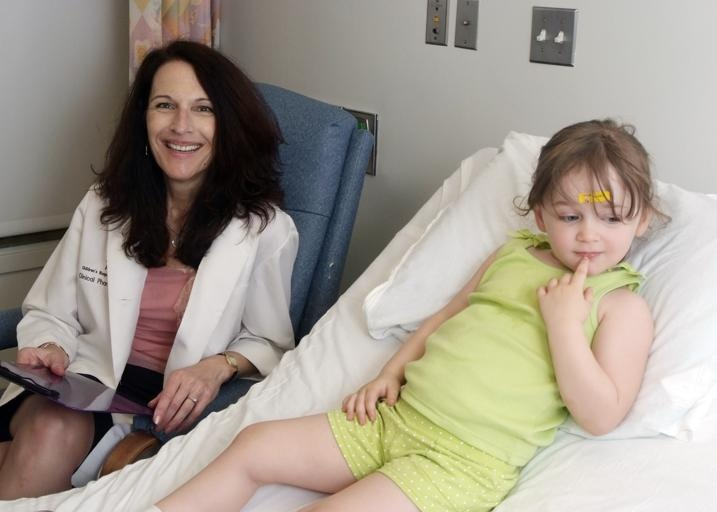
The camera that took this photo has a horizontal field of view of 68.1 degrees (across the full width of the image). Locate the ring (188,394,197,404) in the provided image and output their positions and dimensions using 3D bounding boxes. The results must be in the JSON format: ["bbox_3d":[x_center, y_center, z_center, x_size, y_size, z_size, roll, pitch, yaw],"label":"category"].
[{"bbox_3d":[-0.423,0.370,1.368,0.019,0.020,0.015,6,-13,-18],"label":"ring"}]

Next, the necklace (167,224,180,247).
[{"bbox_3d":[-0.551,-0.063,1.620,0.018,0.068,0.047,7,-18,-26],"label":"necklace"}]
